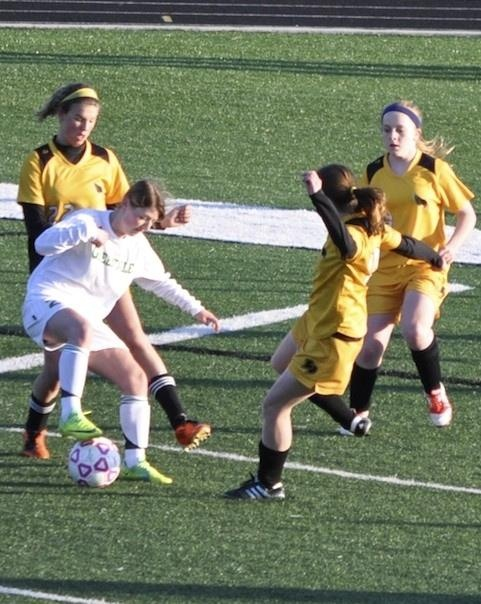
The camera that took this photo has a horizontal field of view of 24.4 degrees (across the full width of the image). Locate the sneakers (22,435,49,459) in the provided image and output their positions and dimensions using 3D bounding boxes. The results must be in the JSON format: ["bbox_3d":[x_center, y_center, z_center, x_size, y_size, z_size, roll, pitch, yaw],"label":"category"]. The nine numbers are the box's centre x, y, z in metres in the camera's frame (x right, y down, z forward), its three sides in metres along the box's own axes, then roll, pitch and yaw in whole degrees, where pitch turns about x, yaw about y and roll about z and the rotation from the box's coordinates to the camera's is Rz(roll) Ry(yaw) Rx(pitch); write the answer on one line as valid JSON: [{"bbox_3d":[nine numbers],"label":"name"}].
[{"bbox_3d":[-1.137,0.812,6.141,0.136,0.149,0.095,6,8,16],"label":"sneakers"}]

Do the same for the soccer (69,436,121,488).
[{"bbox_3d":[-0.801,0.815,5.902,0.356,0.261,0.286,0,4,-11],"label":"soccer"}]

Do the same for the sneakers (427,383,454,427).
[{"bbox_3d":[1.177,0.637,6.555,0.117,0.269,0.129,-14,-1,25],"label":"sneakers"}]

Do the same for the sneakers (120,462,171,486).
[{"bbox_3d":[-0.500,0.913,5.942,0.326,0.116,0.100,5,6,9],"label":"sneakers"}]

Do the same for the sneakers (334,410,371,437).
[{"bbox_3d":[0.637,0.706,6.246,0.104,0.111,0.260,-18,-3,-9],"label":"sneakers"}]

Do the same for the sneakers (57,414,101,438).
[{"bbox_3d":[-0.809,0.628,5.538,0.259,0.113,0.100,-2,8,37],"label":"sneakers"}]

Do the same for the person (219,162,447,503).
[{"bbox_3d":[0.419,0.159,5.810,0.521,1.710,0.875,13,20,23],"label":"person"}]

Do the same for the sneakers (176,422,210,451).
[{"bbox_3d":[-0.257,0.707,5.772,0.120,0.086,0.247,39,-23,-15],"label":"sneakers"}]

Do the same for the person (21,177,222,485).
[{"bbox_3d":[-0.718,0.169,5.863,0.889,1.594,1.057,14,21,28],"label":"person"}]

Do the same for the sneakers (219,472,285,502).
[{"bbox_3d":[0.087,0.990,5.836,0.376,0.150,0.114,2,-8,2],"label":"sneakers"}]
